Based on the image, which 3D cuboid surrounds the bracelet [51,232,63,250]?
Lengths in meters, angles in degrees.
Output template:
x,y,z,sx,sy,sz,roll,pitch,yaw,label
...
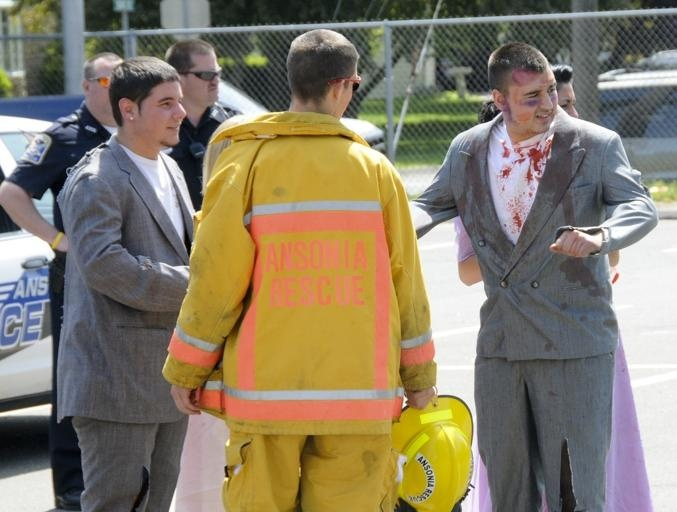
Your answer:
x,y,z,sx,sy,sz,roll,pitch,yaw,label
-1.688,-0.091,7.707,0.019,0.092,0.079,25,-10,-13,bracelet
